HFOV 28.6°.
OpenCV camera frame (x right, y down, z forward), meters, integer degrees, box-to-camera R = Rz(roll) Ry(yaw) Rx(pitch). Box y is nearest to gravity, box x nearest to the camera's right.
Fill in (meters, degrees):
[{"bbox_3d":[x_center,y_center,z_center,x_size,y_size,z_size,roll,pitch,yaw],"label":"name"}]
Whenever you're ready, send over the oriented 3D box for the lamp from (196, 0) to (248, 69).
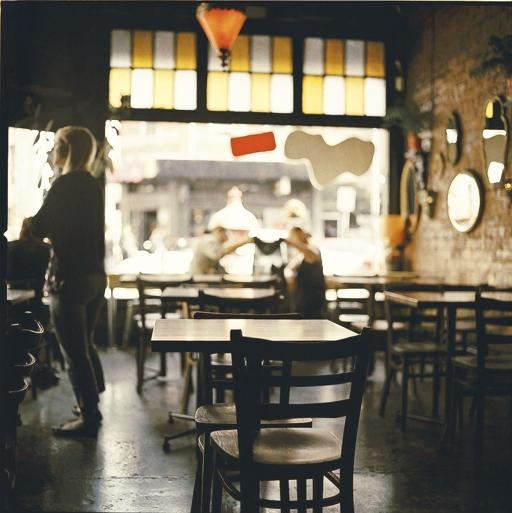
[{"bbox_3d":[-0.195,-1.207,5.430,0.218,0.338,0.280,-1,0,-2],"label":"lamp"}]
